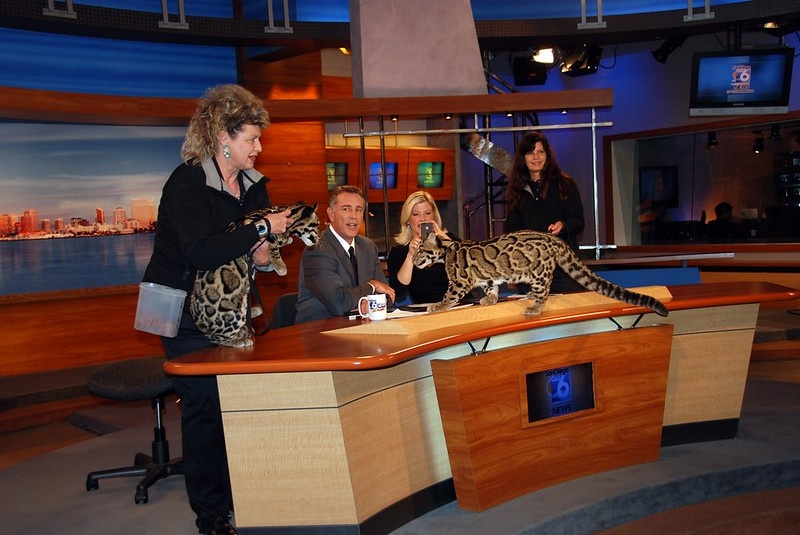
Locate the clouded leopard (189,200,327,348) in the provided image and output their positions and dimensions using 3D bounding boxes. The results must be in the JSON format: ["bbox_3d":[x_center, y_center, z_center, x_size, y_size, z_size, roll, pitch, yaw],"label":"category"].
[{"bbox_3d":[-0.838,0.027,3.232,0.713,0.752,0.425,-6,18,-23],"label":"clouded leopard"}]

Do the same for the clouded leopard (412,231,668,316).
[{"bbox_3d":[0.835,0.036,3.489,1.507,0.467,0.432,0,6,9],"label":"clouded leopard"}]

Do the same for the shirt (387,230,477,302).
[{"bbox_3d":[0.143,-0.036,4.512,0.569,0.583,0.261,0,8,4],"label":"shirt"}]

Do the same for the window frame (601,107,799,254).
[{"bbox_3d":[4.938,-1.437,9.232,2.785,1.760,0.065,-3,1,39],"label":"window frame"}]

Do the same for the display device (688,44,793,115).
[{"bbox_3d":[4.678,-2.541,7.841,1.199,0.768,0.117,0,12,0],"label":"display device"}]
